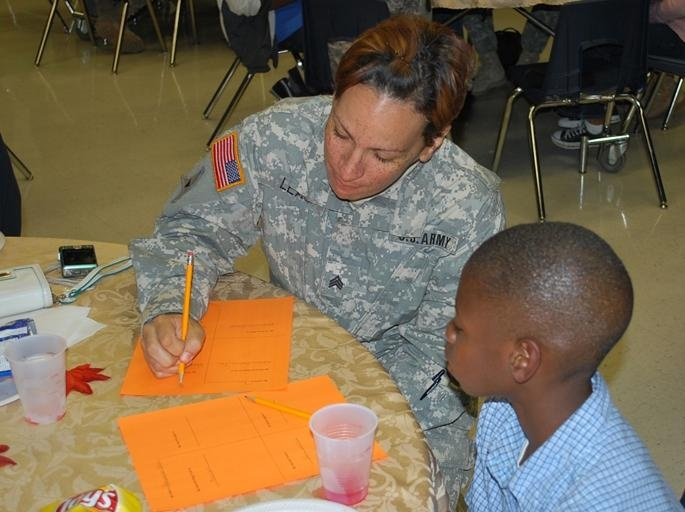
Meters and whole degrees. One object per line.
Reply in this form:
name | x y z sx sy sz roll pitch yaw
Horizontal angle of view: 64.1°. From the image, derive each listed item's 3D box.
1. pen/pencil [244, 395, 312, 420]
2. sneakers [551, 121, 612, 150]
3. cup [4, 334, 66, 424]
pen/pencil | -0.119 0.273 0.980 0.116 0.011 0.011 16 -7 21
sneakers | 1.570 -0.840 3.635 0.380 0.226 0.151 7 60 5
cup | -0.522 0.210 0.943 0.094 0.136 0.090 1 31 -1
